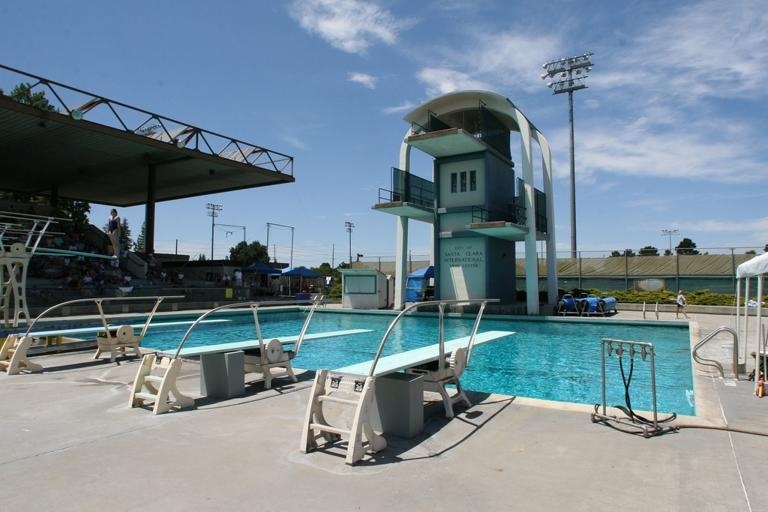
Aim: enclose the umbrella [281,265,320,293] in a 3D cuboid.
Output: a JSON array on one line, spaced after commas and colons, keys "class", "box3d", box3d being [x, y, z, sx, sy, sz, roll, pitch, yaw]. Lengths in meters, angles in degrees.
[{"class": "umbrella", "box3d": [-7.793, 2.273, 46.234, 3.714, 2.113, 3.337, 1, -1, 14]}]
